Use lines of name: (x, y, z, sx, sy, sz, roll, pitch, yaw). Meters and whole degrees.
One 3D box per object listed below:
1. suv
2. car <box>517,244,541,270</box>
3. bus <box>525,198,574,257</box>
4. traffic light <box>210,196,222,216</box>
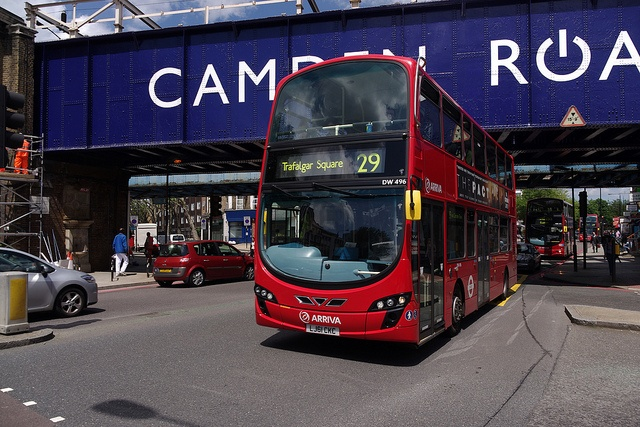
suv: (-5.070, 2.115, 23.812, 1.887, 1.415, 3.612, -2, -1, 38)
car: (11.275, 2.386, 29.153, 0.991, 0.858, 2.413, -3, -7, 29)
bus: (16.417, 1.017, 38.869, 2.921, 4.209, 1.431, 1, 8, 5)
traffic light: (-6.300, -0.398, 32.501, 0.660, 1.277, 2.064, -2, 8, -14)
